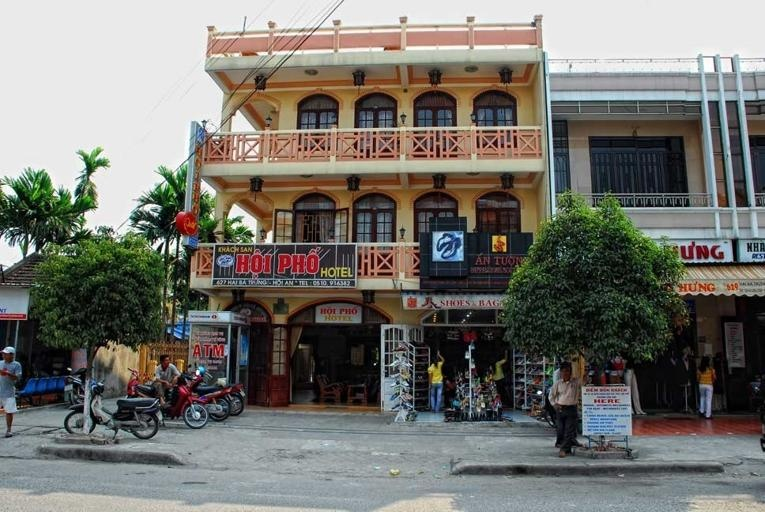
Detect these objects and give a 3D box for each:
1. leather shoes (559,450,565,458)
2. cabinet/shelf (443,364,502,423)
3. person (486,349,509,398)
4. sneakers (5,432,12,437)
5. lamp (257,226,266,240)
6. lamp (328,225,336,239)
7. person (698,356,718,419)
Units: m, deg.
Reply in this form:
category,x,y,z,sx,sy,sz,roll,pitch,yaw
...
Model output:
category,x,y,z,sx,sy,sz,roll,pitch,yaw
leather shoes,4.652,5.089,16.622,0.104,0.119,0.285,-3,-19,6
cabinet/shelf,3.153,5.041,22.418,2.224,0.927,3.144,6,0,22
person,4.769,4.853,26.630,0.636,1.462,0.394,8,7,28
sneakers,-10.602,5.067,18.302,0.249,0.103,0.085,-11,-14,31
lamp,-5.512,-1.058,29.669,0.360,0.892,0.912,1,-11,-7
lamp,-2.143,-0.996,26.664,0.386,0.518,0.387,-4,-21,19
person,11.443,4.610,22.725,0.512,2.133,0.764,-4,-12,19
